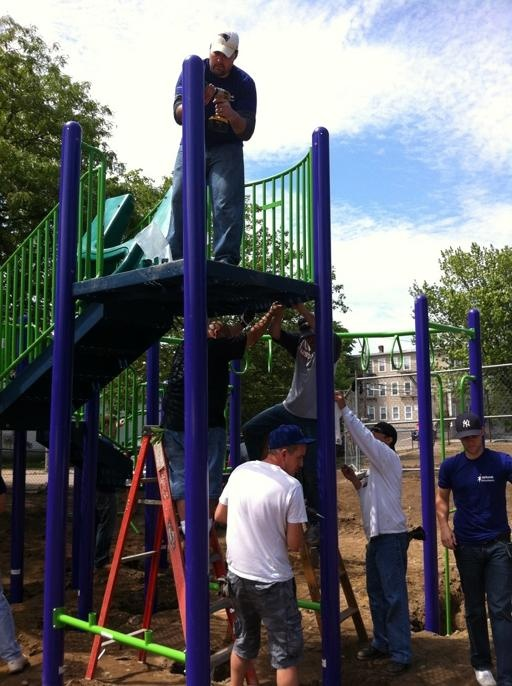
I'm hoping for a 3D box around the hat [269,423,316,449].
[{"bbox_3d":[0.177,0.481,3.630,0.173,0.113,0.135,1,-1,2],"label":"hat"}]

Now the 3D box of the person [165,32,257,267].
[{"bbox_3d":[-0.240,-1.111,4.082,0.505,1.182,0.646,1,0,-8],"label":"person"}]

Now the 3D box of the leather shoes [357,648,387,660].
[{"bbox_3d":[0.739,1.998,4.505,0.198,0.092,0.073,8,-15,-4],"label":"leather shoes"}]

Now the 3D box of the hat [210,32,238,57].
[{"bbox_3d":[-0.181,-1.705,4.012,0.156,0.124,0.188,1,0,-4],"label":"hat"}]

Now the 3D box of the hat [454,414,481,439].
[{"bbox_3d":[1.346,0.533,4.466,0.112,0.099,0.176,-12,-11,20],"label":"hat"}]

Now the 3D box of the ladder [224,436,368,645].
[{"bbox_3d":[0.422,1.600,4.861,0.798,1.246,0.716,-33,-34,26],"label":"ladder"}]

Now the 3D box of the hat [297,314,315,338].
[{"bbox_3d":[0.380,-0.143,5.131,0.083,0.160,0.151,-19,31,-6],"label":"hat"}]

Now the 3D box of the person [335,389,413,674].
[{"bbox_3d":[0.775,1.209,4.471,0.417,1.324,0.570,0,0,13],"label":"person"}]

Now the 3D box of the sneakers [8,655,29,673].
[{"bbox_3d":[-1.419,1.933,4.238,0.136,0.102,0.072,1,-1,-44],"label":"sneakers"}]

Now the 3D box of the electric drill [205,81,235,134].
[{"bbox_3d":[-0.222,-1.354,4.130,0.148,0.308,0.136,4,-12,-12],"label":"electric drill"}]

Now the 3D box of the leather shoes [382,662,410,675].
[{"bbox_3d":[0.848,1.944,4.201,0.056,0.069,0.158,-14,-30,40],"label":"leather shoes"}]
